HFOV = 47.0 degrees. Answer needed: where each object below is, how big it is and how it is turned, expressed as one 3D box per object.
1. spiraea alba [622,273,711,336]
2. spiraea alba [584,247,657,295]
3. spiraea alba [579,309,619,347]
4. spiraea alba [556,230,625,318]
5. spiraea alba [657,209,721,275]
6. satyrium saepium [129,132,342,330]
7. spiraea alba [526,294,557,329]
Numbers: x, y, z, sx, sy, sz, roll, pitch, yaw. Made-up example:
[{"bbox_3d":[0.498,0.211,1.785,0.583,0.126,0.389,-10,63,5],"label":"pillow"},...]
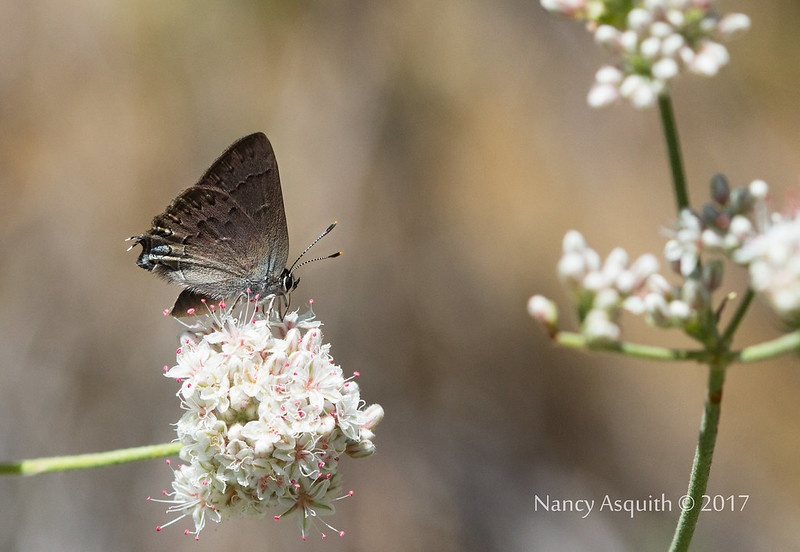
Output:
[{"bbox_3d":[1.175,0.133,4.015,0.360,0.281,0.151,-17,-28,13],"label":"spiraea alba"},{"bbox_3d":[0.975,-0.011,4.039,0.296,0.177,0.103,-17,-13,-9],"label":"spiraea alba"},{"bbox_3d":[0.875,0.229,3.983,0.153,0.156,0.063,-14,-27,7],"label":"spiraea alba"},{"bbox_3d":[0.799,-0.027,4.036,0.217,0.402,0.116,4,-9,26],"label":"spiraea alba"},{"bbox_3d":[1.268,-0.146,3.993,0.228,0.269,0.119,-21,-29,20],"label":"spiraea alba"},{"bbox_3d":[-0.949,-0.285,5.159,0.727,1.320,1.235,-1,16,-32],"label":"satyrium saepium"},{"bbox_3d":[0.646,0.150,4.130,0.111,0.210,0.167,-13,-28,8],"label":"spiraea alba"}]
